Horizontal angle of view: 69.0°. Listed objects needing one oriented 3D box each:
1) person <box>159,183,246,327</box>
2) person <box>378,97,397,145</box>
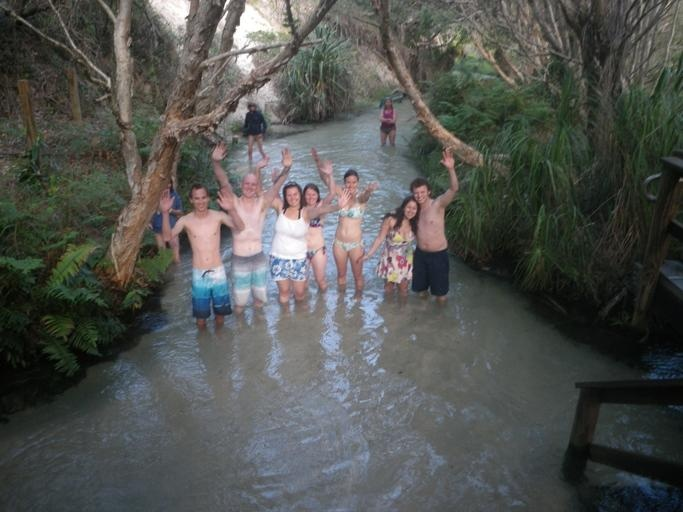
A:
[{"bbox_3d":[-2.023,0.238,7.517,1.089,2.590,0.663,-8,16,-22],"label":"person"},{"bbox_3d":[1.528,-4.374,16.273,0.505,1.521,1.024,0,17,5],"label":"person"}]
